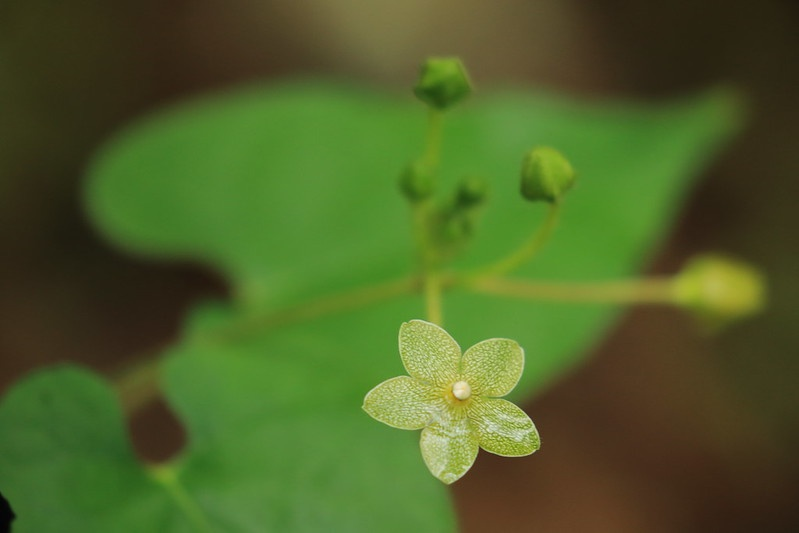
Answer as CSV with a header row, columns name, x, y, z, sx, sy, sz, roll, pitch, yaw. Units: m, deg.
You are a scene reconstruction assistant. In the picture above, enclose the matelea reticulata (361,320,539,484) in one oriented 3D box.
name,x,y,z,sx,sy,sz,roll,pitch,yaw
matelea reticulata,0.069,0.146,0.897,0.186,0.208,0.042,27,33,-5
